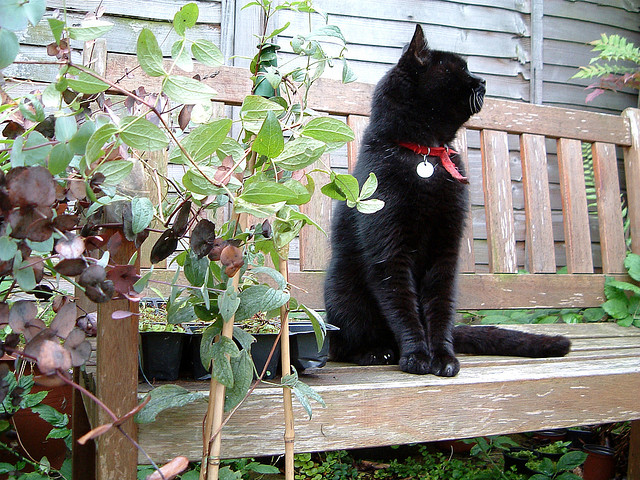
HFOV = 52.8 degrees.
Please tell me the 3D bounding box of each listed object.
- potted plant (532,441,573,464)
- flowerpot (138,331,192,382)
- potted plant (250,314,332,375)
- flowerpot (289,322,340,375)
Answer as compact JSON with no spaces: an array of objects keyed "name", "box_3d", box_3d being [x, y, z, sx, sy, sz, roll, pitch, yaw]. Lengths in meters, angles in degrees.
[{"name":"potted plant","box_3d":[0.908,0.816,2.543,0.128,0.064,0.126,0,-4,-4]},{"name":"flowerpot","box_3d":[-0.378,0.282,1.619,0.164,0.101,0.131,3,-8,-5]},{"name":"potted plant","box_3d":[-0.075,0.271,1.628,0.215,0.090,0.281,-1,-5,16]},{"name":"flowerpot","box_3d":[-0.034,0.298,1.729,0.166,0.095,0.157,0,-18,-25]}]
